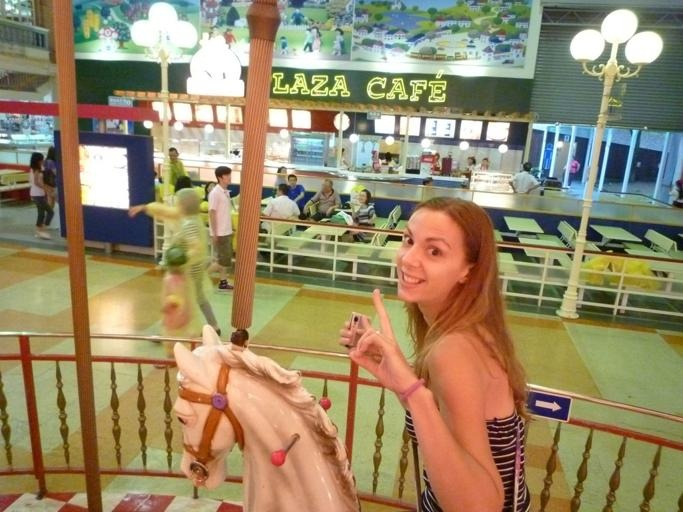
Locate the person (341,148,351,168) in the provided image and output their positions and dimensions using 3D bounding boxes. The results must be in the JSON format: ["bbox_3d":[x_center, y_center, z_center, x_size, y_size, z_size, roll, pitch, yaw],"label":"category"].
[{"bbox_3d":[0.161,-3.666,20.128,0.339,1.096,0.431,-9,-6,-1],"label":"person"}]

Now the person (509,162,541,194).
[{"bbox_3d":[5.102,-2.183,14.245,0.975,0.763,0.848,-8,16,-36],"label":"person"}]

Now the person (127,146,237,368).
[{"bbox_3d":[-1.926,0.203,6.274,0.779,2.023,1.009,-2,14,-15],"label":"person"}]

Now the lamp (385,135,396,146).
[{"bbox_3d":[1.792,-4.239,18.790,0.334,0.184,0.330,-1,24,-14],"label":"lamp"}]

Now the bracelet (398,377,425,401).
[{"bbox_3d":[0.293,0.544,2.109,0.092,0.025,0.093,-38,0,-31],"label":"bracelet"}]
